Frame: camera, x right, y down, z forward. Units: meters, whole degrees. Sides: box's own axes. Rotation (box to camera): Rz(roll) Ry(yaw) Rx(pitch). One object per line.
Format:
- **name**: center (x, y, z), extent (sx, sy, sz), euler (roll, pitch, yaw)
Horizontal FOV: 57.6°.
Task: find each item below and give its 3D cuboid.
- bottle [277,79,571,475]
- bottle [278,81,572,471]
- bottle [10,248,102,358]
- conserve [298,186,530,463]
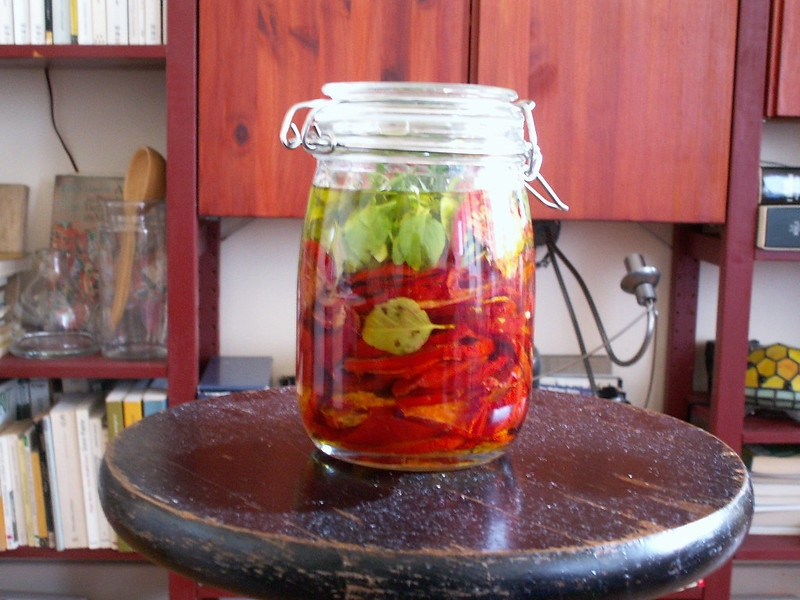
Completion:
- **bottle**: center (0.017, -0.024, 0.665), extent (0.204, 0.308, 0.226), euler (1, 5, -1)
- **bottle**: center (0.016, -0.025, 0.627), extent (0.216, 0.308, 0.191), euler (0, 13, -6)
- **bottle**: center (-0.652, 0.008, 1.387), extent (0.134, 0.227, 0.112), euler (1, 13, 3)
- **conserve**: center (0.014, 0.003, 0.647), extent (0.197, 0.231, 0.205), euler (-4, 11, -16)
